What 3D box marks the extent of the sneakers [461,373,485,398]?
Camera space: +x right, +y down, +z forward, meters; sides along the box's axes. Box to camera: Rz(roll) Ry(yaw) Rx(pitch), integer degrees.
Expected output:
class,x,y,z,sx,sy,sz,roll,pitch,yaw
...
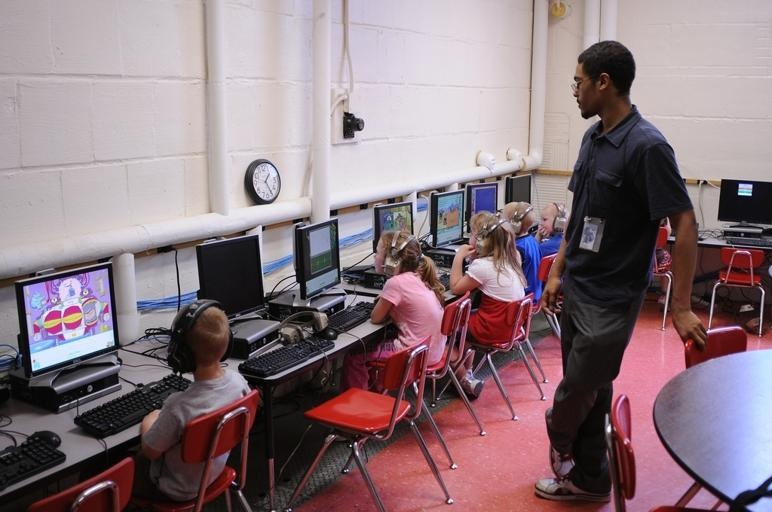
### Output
class,x,y,z,sx,sy,sz,roll,pitch,yaw
sneakers,0.675,1.037,4.298,0.130,0.096,0.283,29,-16,-5

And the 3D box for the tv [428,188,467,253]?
class,x,y,z,sx,sy,sz,roll,pitch,yaw
tv,0.570,-0.315,4.992,0.083,0.584,0.605,2,7,34

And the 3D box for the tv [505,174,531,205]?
class,x,y,z,sx,sy,sz,roll,pitch,yaw
tv,1.525,-0.757,6.104,0.199,0.315,0.585,2,15,26

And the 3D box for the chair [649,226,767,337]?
class,x,y,z,sx,sy,sz,roll,pitch,yaw
chair,2.976,0.233,4.812,1.131,0.741,0.733,1,1,10

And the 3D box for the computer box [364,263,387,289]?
class,x,y,z,sx,sy,sz,roll,pitch,yaw
computer box,-0.091,0.164,4.103,0.144,0.094,0.151,2,11,10

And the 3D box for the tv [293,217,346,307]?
class,x,y,z,sx,sy,sz,roll,pitch,yaw
tv,-0.475,0.052,3.617,0.222,0.638,0.633,1,3,19

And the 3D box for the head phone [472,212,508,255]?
class,x,y,z,sx,sy,sz,roll,pitch,yaw
head phone,0.792,-0.189,4.186,0.309,0.320,0.252,9,12,40

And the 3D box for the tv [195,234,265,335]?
class,x,y,z,sx,sy,sz,roll,pitch,yaw
tv,-0.898,0.169,3.040,0.183,0.524,0.524,1,8,38

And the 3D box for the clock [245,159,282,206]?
class,x,y,z,sx,sy,sz,roll,pitch,yaw
clock,-0.936,-0.542,3.947,0.057,0.300,0.298,-5,13,35

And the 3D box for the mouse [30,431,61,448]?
class,x,y,z,sx,sy,sz,roll,pitch,yaw
mouse,-1.471,0.769,2.290,0.128,0.046,0.066,18,9,-2

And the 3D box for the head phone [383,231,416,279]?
class,x,y,z,sx,sy,sz,roll,pitch,yaw
head phone,0.094,-0.006,3.619,0.278,0.289,0.219,-3,-4,28

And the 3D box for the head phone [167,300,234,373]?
class,x,y,z,sx,sy,sz,roll,pitch,yaw
head phone,-0.816,0.344,2.340,0.137,0.305,0.322,14,12,23
